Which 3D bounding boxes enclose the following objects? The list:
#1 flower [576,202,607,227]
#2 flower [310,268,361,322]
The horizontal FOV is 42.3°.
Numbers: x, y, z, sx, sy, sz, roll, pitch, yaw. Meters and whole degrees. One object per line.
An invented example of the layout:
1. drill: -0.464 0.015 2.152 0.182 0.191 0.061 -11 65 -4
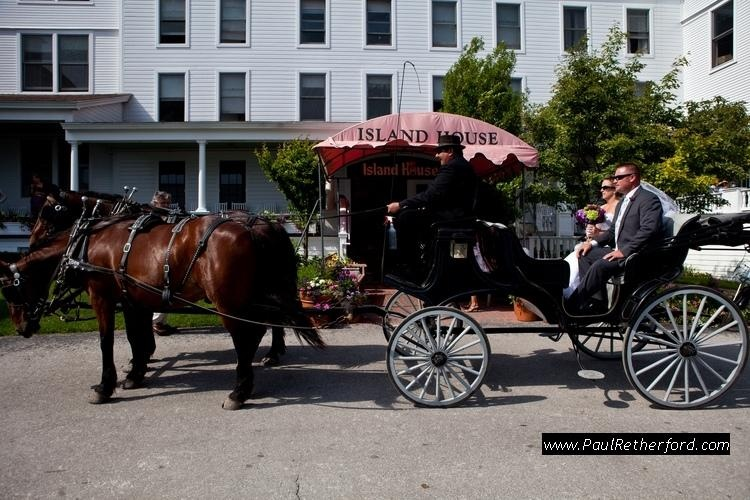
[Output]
1. flower: 5.012 -0.801 22.572 0.579 0.502 0.545 0 5 28
2. flower: -0.933 1.060 23.233 1.412 1.233 1.185 1 0 9
